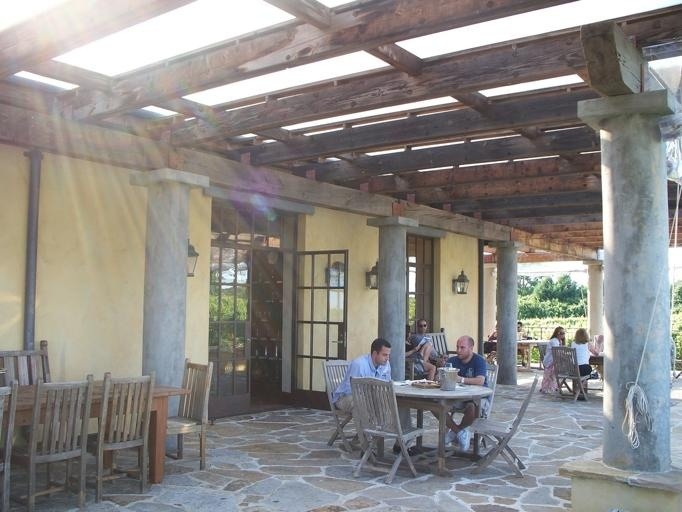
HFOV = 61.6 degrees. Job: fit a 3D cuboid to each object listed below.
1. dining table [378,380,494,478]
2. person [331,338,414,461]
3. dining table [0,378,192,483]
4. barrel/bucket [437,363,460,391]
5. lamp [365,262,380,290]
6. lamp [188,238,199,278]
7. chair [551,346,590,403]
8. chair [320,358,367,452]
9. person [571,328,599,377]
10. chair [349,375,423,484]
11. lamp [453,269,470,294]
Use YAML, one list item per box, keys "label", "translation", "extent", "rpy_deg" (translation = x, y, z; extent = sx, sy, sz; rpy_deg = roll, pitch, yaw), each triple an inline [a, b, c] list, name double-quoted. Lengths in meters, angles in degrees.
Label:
- label: "dining table"
  translation: [0.774, 2.047, 6.699]
  extent: [1.332, 0.872, 1.404]
  rpy_deg: [0, -15, 16]
- label: "person"
  translation: [0.349, 1.472, 6.873]
  extent: [0.791, 0.947, 0.727]
  rpy_deg: [14, -2, 16]
- label: "dining table"
  translation: [-2.625, 1.694, 5.992]
  extent: [1.519, 1.114, 1.170]
  rpy_deg: [0, 16, -29]
- label: "barrel/bucket"
  translation: [1.216, 1.390, 6.450]
  extent: [0.237, 0.213, 0.240]
  rpy_deg: [0, -10, 0]
- label: "lamp"
  translation: [0.624, 0.402, 11.382]
  extent: [0.243, 0.521, 0.230]
  rpy_deg: [1, -3, 8]
- label: "lamp"
  translation: [-2.172, 0.033, 8.448]
  extent: [0.143, 0.545, 0.347]
  rpy_deg: [2, -3, -14]
- label: "chair"
  translation: [4.600, 2.317, 11.292]
  extent: [0.758, 0.972, 0.597]
  rpy_deg: [8, -8, -42]
- label: "chair"
  translation: [0.079, 1.849, 7.371]
  extent: [0.685, 0.879, 0.575]
  rpy_deg: [7, 3, 37]
- label: "person"
  translation: [4.817, 1.896, 11.400]
  extent: [0.352, 0.946, 1.183]
  rpy_deg: [0, -3, 24]
- label: "chair"
  translation: [0.518, 1.845, 6.204]
  extent: [0.895, 0.980, 0.763]
  rpy_deg: [8, -12, -20]
- label: "lamp"
  translation: [2.936, 0.637, 13.853]
  extent: [0.333, 0.596, 0.711]
  rpy_deg: [-1, -4, 27]
